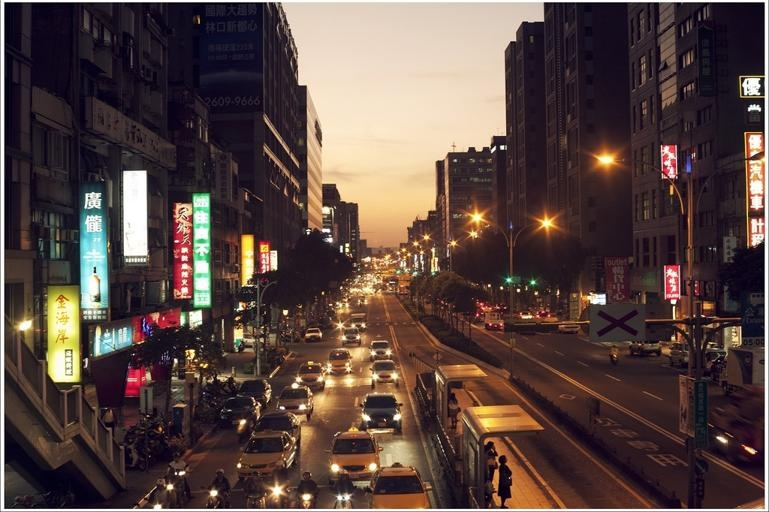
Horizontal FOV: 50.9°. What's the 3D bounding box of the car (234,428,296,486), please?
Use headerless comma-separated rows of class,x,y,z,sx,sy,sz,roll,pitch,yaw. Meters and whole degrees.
car,-6.484,10.971,44.856,2.500,2.383,5.611,-2,-6,1

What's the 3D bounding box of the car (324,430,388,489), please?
car,-1.483,10.893,43.167,2.288,2.632,3.277,0,0,6

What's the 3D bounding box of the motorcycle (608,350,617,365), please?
motorcycle,20.322,9.041,72.041,0.577,1.479,0.958,-4,-8,-25

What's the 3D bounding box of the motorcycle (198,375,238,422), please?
motorcycle,-11.903,10.004,56.442,1.229,0.966,8.615,-1,-1,-2
